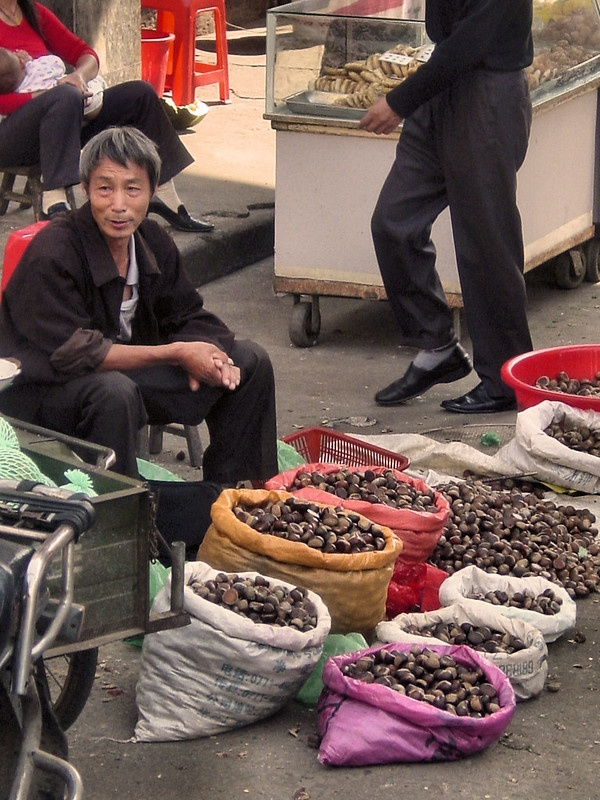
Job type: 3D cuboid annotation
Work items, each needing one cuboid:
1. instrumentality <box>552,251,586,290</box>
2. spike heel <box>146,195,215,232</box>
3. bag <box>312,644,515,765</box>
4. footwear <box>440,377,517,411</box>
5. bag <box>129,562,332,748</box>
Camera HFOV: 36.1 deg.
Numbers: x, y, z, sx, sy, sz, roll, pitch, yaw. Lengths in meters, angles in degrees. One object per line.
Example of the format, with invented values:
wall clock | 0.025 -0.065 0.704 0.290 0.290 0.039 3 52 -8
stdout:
instrumentality | 1.819 -0.878 6.210 0.098 0.189 0.190 12 45 36
spike heel | -0.763 -1.159 5.978 0.499 0.210 0.155 12 18 -30
bag | 0.252 0.712 2.112 0.320 0.117 0.261 -4 14 -2
footwear | 0.873 -0.020 4.505 0.390 0.144 0.137 0 0 -1
bag | -0.160 0.647 2.324 0.442 0.338 0.508 12 1 28
